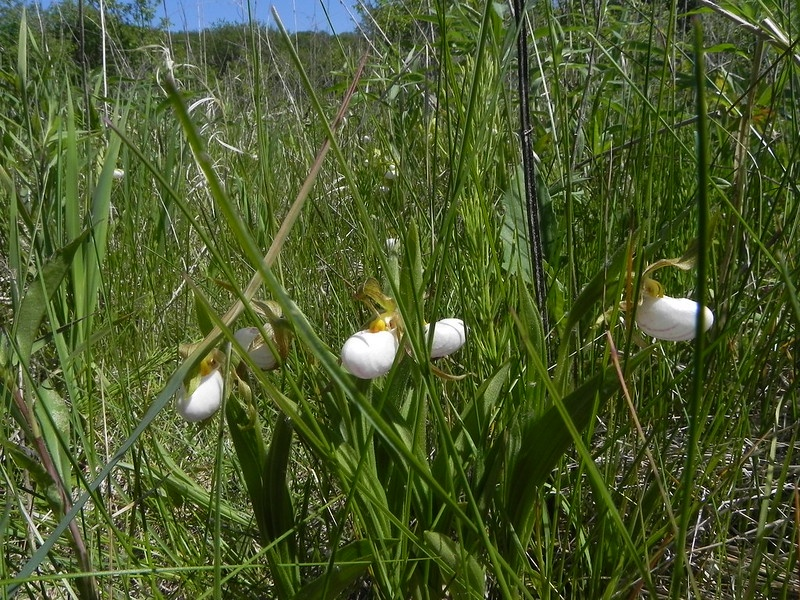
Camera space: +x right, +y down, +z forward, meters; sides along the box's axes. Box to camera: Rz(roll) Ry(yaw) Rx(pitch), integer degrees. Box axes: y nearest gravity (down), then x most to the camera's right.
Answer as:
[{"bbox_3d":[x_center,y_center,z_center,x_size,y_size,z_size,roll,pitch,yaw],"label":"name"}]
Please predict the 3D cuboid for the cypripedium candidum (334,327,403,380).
[{"bbox_3d":[-0.058,0.105,1.563,0.098,0.086,0.159,5,33,18],"label":"cypripedium candidum"}]

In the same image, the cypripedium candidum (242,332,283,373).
[{"bbox_3d":[-0.304,0.117,1.566,0.062,0.098,0.095,9,5,-10],"label":"cypripedium candidum"}]

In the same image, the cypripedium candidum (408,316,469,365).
[{"bbox_3d":[0.113,0.089,1.685,0.119,0.081,0.095,-14,10,-36],"label":"cypripedium candidum"}]
